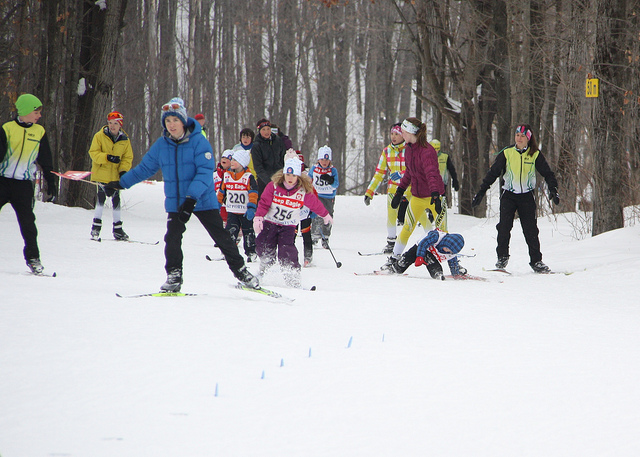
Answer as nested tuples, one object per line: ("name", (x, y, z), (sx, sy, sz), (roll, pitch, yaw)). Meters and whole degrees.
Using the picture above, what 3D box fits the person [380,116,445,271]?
("person", (1.612, -0.676, 13.399), (0.847, 2.340, 1.039), (3, 14, 8))

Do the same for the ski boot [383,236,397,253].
("ski boot", (1.359, 0.314, 15.849), (0.240, 0.384, 0.375), (2, 15, 4))

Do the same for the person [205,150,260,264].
("person", (-1.556, -0.360, 14.484), (0.776, 2.157, 0.818), (3, 16, 10))

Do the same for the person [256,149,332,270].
("person", (-0.407, -0.107, 12.148), (1.022, 2.176, 1.063), (8, 16, 5))

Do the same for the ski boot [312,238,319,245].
("ski boot", (-0.110, 0.279, 16.860), (0.131, 0.110, 0.251), (11, 13, 8))

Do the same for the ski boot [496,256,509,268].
("ski boot", (3.114, 0.586, 13.826), (0.175, 0.212, 0.151), (6, 4, 14))

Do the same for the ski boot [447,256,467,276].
("ski boot", (2.202, 0.615, 13.017), (0.299, 0.305, 0.322), (4, 16, 10))

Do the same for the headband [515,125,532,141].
("headband", (3.386, -1.577, 13.461), (0.174, 0.135, 0.223), (25, 10, 26))

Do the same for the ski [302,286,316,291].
("ski", (-0.170, 0.887, 11.753), (0.228, 0.084, 0.036), (-1, 5, 43))

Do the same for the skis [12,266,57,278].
("skis", (-4.217, 0.653, 11.794), (0.406, 0.073, 0.051), (12, 29, 21))

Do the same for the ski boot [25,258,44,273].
("ski boot", (-4.151, 0.542, 11.700), (0.311, 0.165, 0.122), (19, 12, 29))

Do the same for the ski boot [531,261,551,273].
("ski boot", (3.728, 0.669, 13.605), (0.111, 0.164, 0.311), (-4, -2, -36))

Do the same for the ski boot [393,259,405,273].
("ski boot", (1.252, 0.646, 13.151), (0.117, 0.170, 0.227), (-3, 17, -17))

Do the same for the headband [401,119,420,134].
("headband", (1.448, -1.621, 13.033), (0.224, 0.140, 0.180), (37, 6, 2))
